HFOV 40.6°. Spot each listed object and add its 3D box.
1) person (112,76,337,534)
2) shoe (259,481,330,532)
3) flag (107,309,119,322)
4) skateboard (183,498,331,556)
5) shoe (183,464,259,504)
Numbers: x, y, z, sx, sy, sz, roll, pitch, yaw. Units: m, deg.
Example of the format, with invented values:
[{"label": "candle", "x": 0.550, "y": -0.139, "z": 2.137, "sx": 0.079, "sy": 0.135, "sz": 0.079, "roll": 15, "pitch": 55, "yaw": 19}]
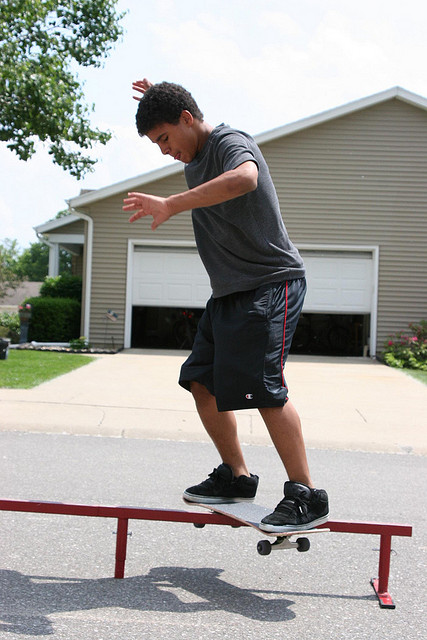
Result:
[{"label": "person", "x": 0.018, "y": -0.064, "z": 2.297, "sx": 0.846, "sy": 1.707, "sz": 0.711, "roll": 4, "pitch": -3, "yaw": -20}, {"label": "shoe", "x": 0.313, "y": 0.705, "z": 2.184, "sx": 0.140, "sy": 0.169, "sz": 0.392, "roll": -7, "pitch": -12, "yaw": 41}, {"label": "flag", "x": -2.518, "y": -0.082, "z": 14.321, "sx": 0.146, "sy": 0.126, "sz": 0.349, "roll": -41, "pitch": -10, "yaw": 1}, {"label": "skateboard", "x": 0.166, "y": 0.816, "z": 2.273, "sx": 0.310, "sy": 0.169, "sz": 0.624, "roll": 5, "pitch": -3, "yaw": -32}, {"label": "shoe", "x": 0.025, "y": 0.719, "z": 2.512, "sx": 0.377, "sy": 0.161, "sz": 0.121, "roll": 12, "pitch": -11, "yaw": -28}]
